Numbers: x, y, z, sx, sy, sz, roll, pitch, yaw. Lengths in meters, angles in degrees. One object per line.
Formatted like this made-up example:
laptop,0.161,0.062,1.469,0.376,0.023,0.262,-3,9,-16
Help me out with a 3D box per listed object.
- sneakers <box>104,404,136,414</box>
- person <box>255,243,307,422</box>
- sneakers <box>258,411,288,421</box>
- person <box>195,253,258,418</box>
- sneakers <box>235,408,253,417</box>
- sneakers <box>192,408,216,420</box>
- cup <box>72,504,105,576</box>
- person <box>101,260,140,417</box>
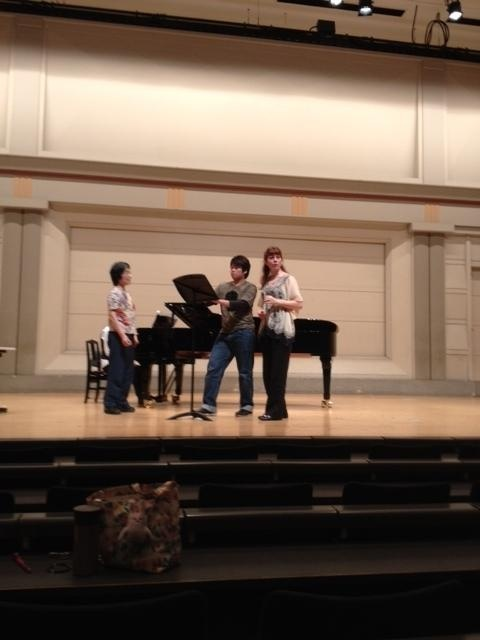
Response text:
sneakers,-0.860,0.651,4.905,0.221,0.080,0.072,0,2,-7
person,0.257,0.091,4.436,0.270,1.134,0.401,3,-9,-2
sneakers,0.216,0.632,4.435,0.181,0.049,0.063,7,-9,-16
person,-0.070,0.072,4.618,0.354,1.161,0.637,2,-9,0
sneakers,0.031,0.644,4.746,0.048,0.048,0.128,-5,-13,23
sneakers,-0.235,0.631,4.514,0.160,0.071,0.055,11,-12,-14
cup,-0.381,0.554,1.694,0.063,0.160,0.063,2,-9,0
person,-0.843,0.125,4.894,0.246,1.111,0.454,4,-10,-10
